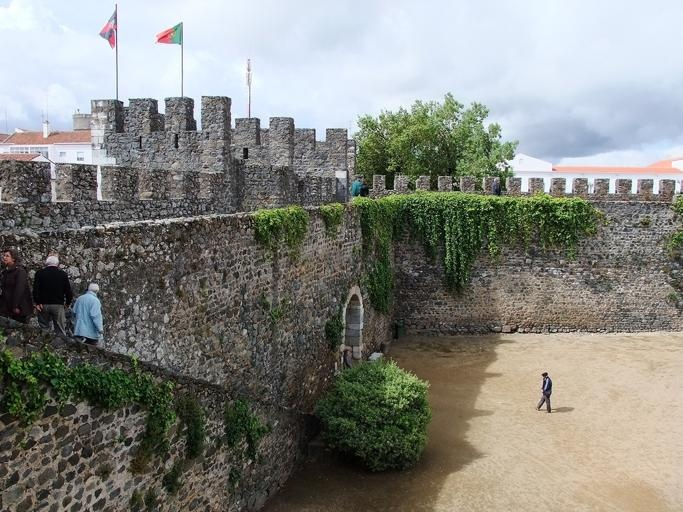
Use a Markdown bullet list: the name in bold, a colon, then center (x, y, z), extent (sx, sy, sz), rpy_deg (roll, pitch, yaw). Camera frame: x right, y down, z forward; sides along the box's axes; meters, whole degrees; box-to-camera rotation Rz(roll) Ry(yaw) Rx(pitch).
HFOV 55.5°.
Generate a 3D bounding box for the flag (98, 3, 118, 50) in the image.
- **flag**: center (-6.232, -6.097, 17.444), extent (0.393, 0.991, 0.980), rpy_deg (-3, 13, -21)

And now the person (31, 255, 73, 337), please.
- **person**: center (-3.642, 0.489, 8.183), extent (0.437, 0.958, 0.249), rpy_deg (-5, 13, -28)

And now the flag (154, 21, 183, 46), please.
- **flag**: center (-4.621, -6.015, 17.594), extent (0.591, 0.621, 1.122), rpy_deg (-3, 13, -18)

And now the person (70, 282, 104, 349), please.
- **person**: center (-3.334, 0.800, 8.549), extent (0.371, 0.858, 0.409), rpy_deg (-4, 12, -22)

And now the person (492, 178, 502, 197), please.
- **person**: center (5.326, -2.372, 22.362), extent (0.266, 0.566, 0.843), rpy_deg (3, 12, 10)
